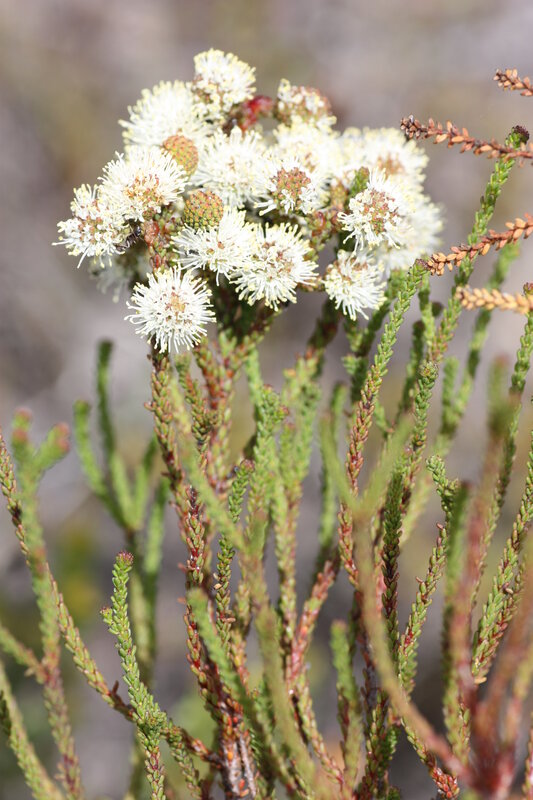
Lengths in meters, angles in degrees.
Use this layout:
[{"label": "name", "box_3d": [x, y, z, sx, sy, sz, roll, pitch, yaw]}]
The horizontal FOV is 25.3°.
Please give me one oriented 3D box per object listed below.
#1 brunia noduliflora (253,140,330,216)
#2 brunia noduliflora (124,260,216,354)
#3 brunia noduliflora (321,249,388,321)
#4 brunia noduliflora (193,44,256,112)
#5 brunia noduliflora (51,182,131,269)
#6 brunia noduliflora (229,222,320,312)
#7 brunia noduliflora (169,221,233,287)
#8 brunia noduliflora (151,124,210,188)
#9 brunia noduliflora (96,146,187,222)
[{"label": "brunia noduliflora", "box_3d": [0.053, -0.442, 2.475, 0.129, 0.139, 0.077, 16, 12, 9]}, {"label": "brunia noduliflora", "box_3d": [-0.205, -0.171, 2.507, 0.162, 0.197, 0.081, -6, -6, -9]}, {"label": "brunia noduliflora", "box_3d": [0.194, -0.252, 2.595, 0.130, 0.161, 0.197, -9, 12, 6]}, {"label": "brunia noduliflora", "box_3d": [-0.095, -0.696, 2.597, 0.148, 0.129, 0.147, 3, 7, -35]}, {"label": "brunia noduliflora", "box_3d": [-0.354, -0.387, 2.462, 0.127, 0.087, 0.119, -8, 27, -45]}, {"label": "brunia noduliflora", "box_3d": [0.016, -0.280, 2.475, 0.165, 0.184, 0.095, 20, 3, -16]}, {"label": "brunia noduliflora", "box_3d": [-0.134, -0.301, 2.450, 0.102, 0.121, 0.076, 10, 2, 21]}, {"label": "brunia noduliflora", "box_3d": [-0.191, -0.516, 2.492, 0.078, 0.104, 0.095, -1, 26, 6]}, {"label": "brunia noduliflora", "box_3d": [-0.262, -0.449, 2.475, 0.189, 0.152, 0.151, -12, 12, -4]}]
